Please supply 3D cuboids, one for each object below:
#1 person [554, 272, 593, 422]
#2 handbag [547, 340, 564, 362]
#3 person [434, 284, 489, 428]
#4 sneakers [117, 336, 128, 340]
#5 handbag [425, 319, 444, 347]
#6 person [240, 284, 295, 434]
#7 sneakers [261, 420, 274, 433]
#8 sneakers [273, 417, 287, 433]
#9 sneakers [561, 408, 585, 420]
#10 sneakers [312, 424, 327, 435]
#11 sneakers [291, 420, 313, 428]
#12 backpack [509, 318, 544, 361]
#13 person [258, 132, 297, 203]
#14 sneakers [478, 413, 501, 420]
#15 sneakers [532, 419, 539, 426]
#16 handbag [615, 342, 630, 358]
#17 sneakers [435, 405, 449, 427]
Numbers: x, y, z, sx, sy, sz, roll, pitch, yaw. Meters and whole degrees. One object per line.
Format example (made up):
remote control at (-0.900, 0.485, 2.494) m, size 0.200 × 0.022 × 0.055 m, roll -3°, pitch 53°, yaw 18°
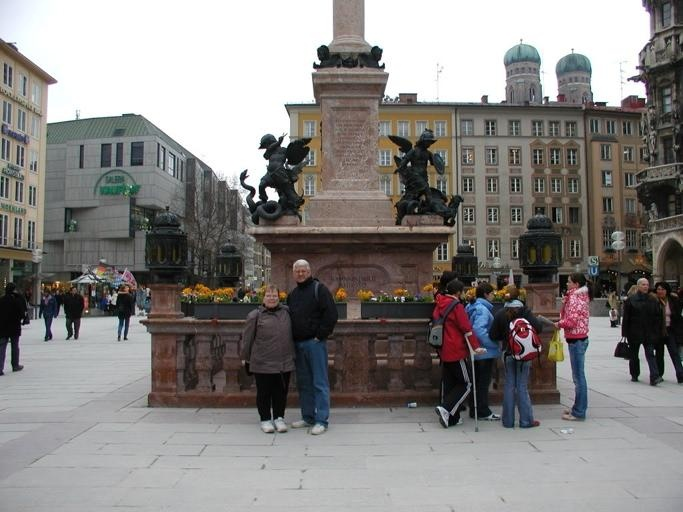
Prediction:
person at (4.044, 1.532, 12.565) m, size 0.510 × 2.502 × 0.882 m, roll -2°, pitch -4°, yaw 19°
handbag at (3.640, 1.596, 12.258) m, size 0.232 × 0.363 × 0.527 m, roll -2°, pitch -4°, yaw 16°
person at (1.879, 1.605, 12.046) m, size 0.782 × 2.430 × 0.411 m, roll -1°, pitch -3°, yaw 8°
sneakers at (-7.839, 2.915, 25.840) m, size 0.317 × 0.113 × 0.143 m, roll -7°, pitch 11°, yaw 9°
handbag at (1.607, 1.280, 12.325) m, size 0.329 × 0.686 × 0.459 m, roll 1°, pitch -5°, yaw 4°
person at (-1.206, 1.665, 11.851) m, size 0.839 × 2.363 × 0.368 m, roll 0°, pitch -3°, yaw -9°
sneakers at (-1.189, 2.749, 11.700) m, size 0.224 × 0.169 × 0.167 m, roll -1°, pitch -3°, yaw -2°
sneakers at (-0.988, 2.733, 11.756) m, size 0.218 × 0.216 × 0.233 m, roll 0°, pitch -3°, yaw -5°
sneakers at (3.955, 2.689, 12.312) m, size 0.308 × 0.152 × 0.160 m, roll 5°, pitch -5°, yaw 14°
sneakers at (-0.369, 2.773, 11.584) m, size 0.104 × 0.123 × 0.297 m, roll -5°, pitch -24°, yaw 14°
sneakers at (-0.655, 2.767, 11.997) m, size 0.320 × 0.152 × 0.123 m, roll 9°, pitch -9°, yaw -13°
backpack at (3.017, 1.353, 11.921) m, size 0.555 × 0.713 × 0.379 m, roll -10°, pitch -13°, yaw -8°
person at (-1.673, -2.276, 18.703) m, size 0.890 × 1.803 × 0.839 m, roll 0°, pitch -3°, yaw -4°
sneakers at (2.552, 2.775, 12.442) m, size 0.292 × 0.130 × 0.157 m, roll -4°, pitch -7°, yaw 7°
sneakers at (3.254, 2.770, 12.043) m, size 0.095 × 0.082 × 0.235 m, roll -2°, pitch -4°, yaw 16°
handbag at (6.074, 2.011, 15.612) m, size 0.283 × 0.332 × 0.590 m, roll -2°, pitch -4°, yaw 21°
sneakers at (1.683, 2.639, 11.935) m, size 0.168 × 0.410 × 0.131 m, roll -14°, pitch -15°, yaw -13°
